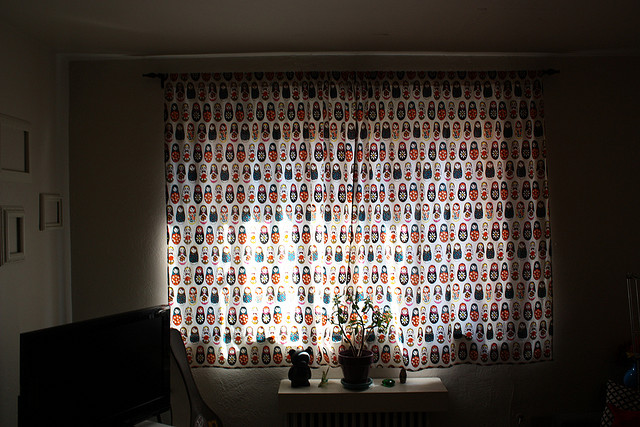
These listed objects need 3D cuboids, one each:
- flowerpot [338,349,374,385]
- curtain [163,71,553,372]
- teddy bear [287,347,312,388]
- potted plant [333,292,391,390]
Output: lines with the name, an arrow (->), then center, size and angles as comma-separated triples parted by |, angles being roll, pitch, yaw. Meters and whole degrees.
flowerpot -> 0.295, 1.272, 4.452 | 0.268, 0.226, 0.262 | 7, -2, -43
curtain -> 0.274, 0.136, 4.530 | 2.221, 1.871, 0.037 | 0, -1, -5
teddy bear -> -0.172, 1.284, 4.449 | 0.181, 0.314, 0.198 | 1, -4, -8
potted plant -> 0.360, 1.035, 4.458 | 0.312, 0.831, 0.436 | 5, -6, -35
